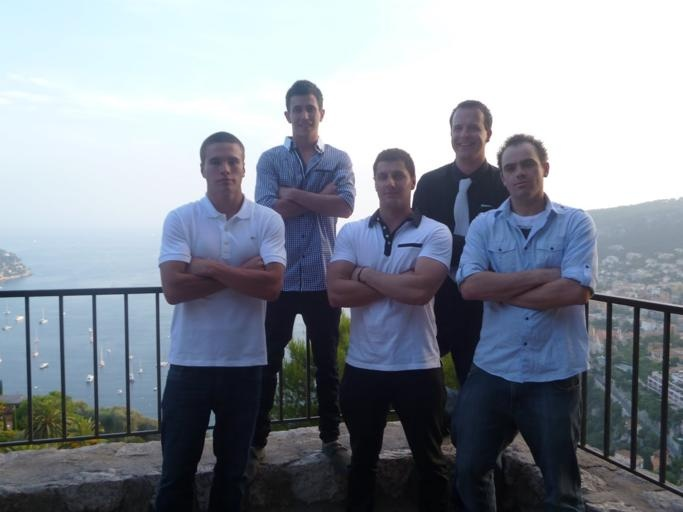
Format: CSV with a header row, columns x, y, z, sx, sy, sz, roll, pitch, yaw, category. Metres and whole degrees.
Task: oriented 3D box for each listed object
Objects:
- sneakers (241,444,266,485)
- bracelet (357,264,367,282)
x,y,z,sx,sy,sz,roll,pitch,yaw,category
-0.642,1.540,4.356,0.115,0.152,0.348,2,-14,1,sneakers
0.134,0.113,3.989,0.074,0.081,0.079,-6,-10,23,bracelet
